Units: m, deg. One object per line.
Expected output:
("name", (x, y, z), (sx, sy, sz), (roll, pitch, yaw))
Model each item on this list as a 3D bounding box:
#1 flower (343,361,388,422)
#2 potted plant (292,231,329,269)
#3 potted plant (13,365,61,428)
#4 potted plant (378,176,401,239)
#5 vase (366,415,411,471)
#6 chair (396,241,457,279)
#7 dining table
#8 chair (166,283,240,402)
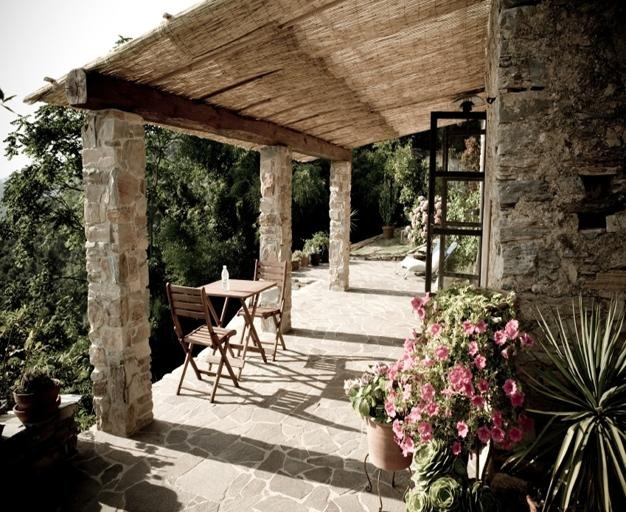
("flower", (0.417, 0.975, 3.566), (0.333, 0.413, 0.274), (1, -26, -26))
("potted plant", (-0.077, -0.216, 13.783), (0.631, 0.569, 1.122), (5, 4, 21))
("potted plant", (-2.175, 1.082, 3.927), (0.311, 0.405, 0.363), (-16, 3, -17))
("potted plant", (2.598, -1.749, 17.489), (0.666, 2.103, 1.352), (3, 14, 9))
("vase", (0.501, 1.257, 3.439), (0.282, 0.267, 0.330), (-1, -3, 18))
("chair", (2.102, 0.090, 9.528), (1.039, 0.841, 0.412), (-1, 17, 4))
("dining table", (-0.761, 0.750, 5.715), (0.738, 1.236, 0.978), (0, 2, 20))
("chair", (-1.122, 0.783, 5.169), (0.689, 1.219, 0.965), (-2, 14, -13))
